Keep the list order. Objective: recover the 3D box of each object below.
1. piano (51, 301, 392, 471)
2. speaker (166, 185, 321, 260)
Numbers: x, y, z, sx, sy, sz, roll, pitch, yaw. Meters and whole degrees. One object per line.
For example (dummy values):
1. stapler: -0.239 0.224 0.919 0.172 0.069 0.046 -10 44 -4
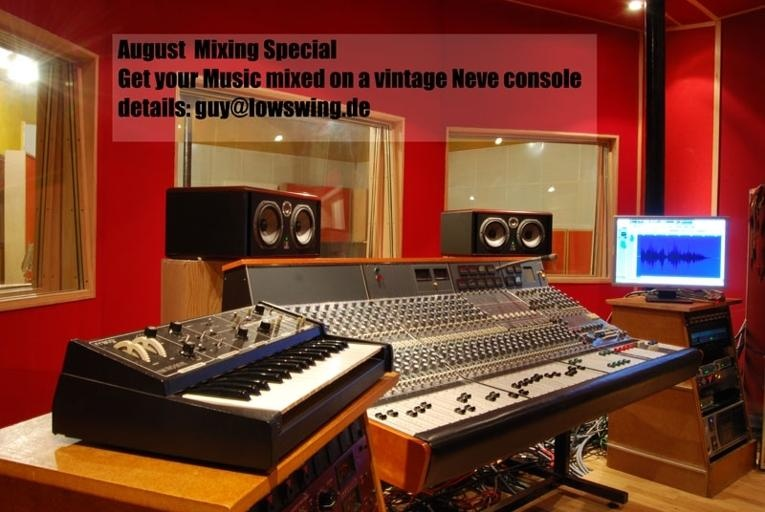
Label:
1. piano: -0.530 0.411 1.822 0.556 0.266 0.708 -1 4 24
2. speaker: -0.730 -0.180 3.062 0.834 0.408 0.407 -4 4 -21
